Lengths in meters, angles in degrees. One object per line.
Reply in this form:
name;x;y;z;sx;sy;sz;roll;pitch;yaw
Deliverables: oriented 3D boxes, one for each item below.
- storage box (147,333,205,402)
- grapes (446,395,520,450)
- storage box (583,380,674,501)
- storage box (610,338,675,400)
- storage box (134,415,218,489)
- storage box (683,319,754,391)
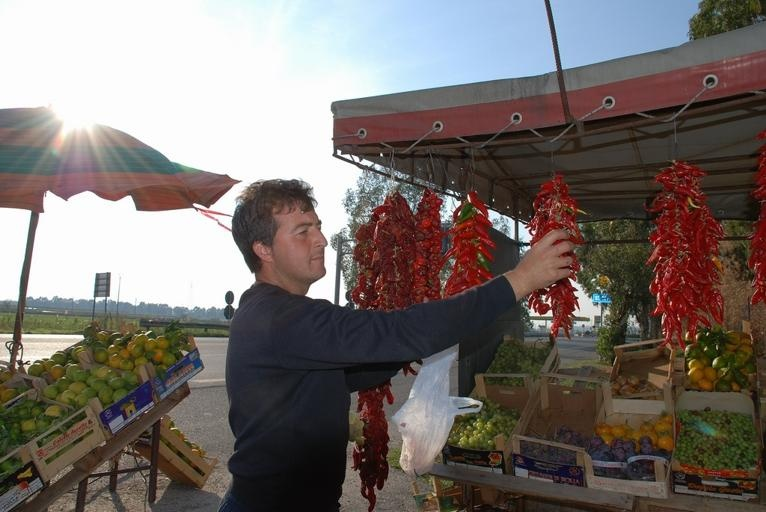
storage box;-2.745;1.394;6.138;0.824;0.410;0.873;-11;29;-11
grapes;1.250;2.094;5.950;0.666;0.274;0.712;-16;4;37
storage box;2.749;2.078;5.350;0.720;0.526;1.294;-5;16;27
storage box;3.429;1.523;6.376;0.621;0.907;0.883;-11;-5;21
storage box;-2.874;2.865;6.849;1.140;0.509;1.194;31;-27;8
storage box;4.062;1.211;5.818;0.809;0.777;0.254;-7;-36;43
